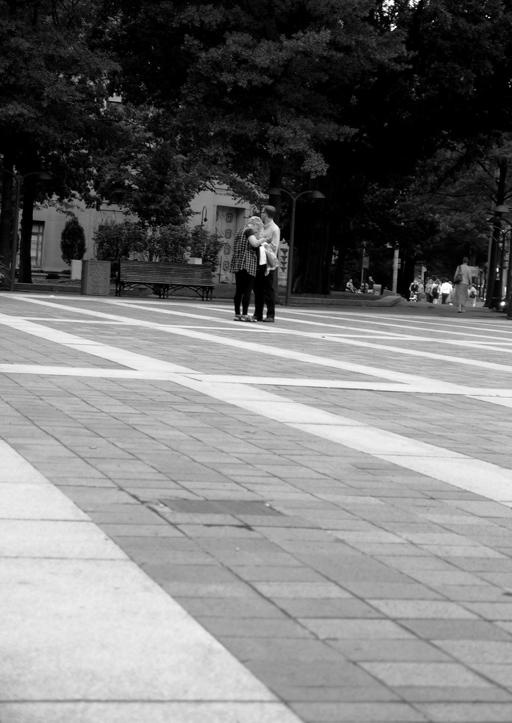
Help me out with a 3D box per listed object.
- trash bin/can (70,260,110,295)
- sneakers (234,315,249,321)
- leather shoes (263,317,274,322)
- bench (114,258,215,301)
[{"bbox_3d":[-4.921,-2.502,28.580,0.888,1.044,0.934,5,5,0],"label":"trash bin/can"},{"bbox_3d":[-0.283,-0.826,18.435,0.129,0.089,0.240,-1,0,-35],"label":"sneakers"},{"bbox_3d":[0.255,-0.826,19.087,0.079,0.087,0.234,-2,6,-32],"label":"leather shoes"},{"bbox_3d":[-2.812,-2.487,29.160,3.285,1.092,0.784,0,7,-41],"label":"bench"}]
